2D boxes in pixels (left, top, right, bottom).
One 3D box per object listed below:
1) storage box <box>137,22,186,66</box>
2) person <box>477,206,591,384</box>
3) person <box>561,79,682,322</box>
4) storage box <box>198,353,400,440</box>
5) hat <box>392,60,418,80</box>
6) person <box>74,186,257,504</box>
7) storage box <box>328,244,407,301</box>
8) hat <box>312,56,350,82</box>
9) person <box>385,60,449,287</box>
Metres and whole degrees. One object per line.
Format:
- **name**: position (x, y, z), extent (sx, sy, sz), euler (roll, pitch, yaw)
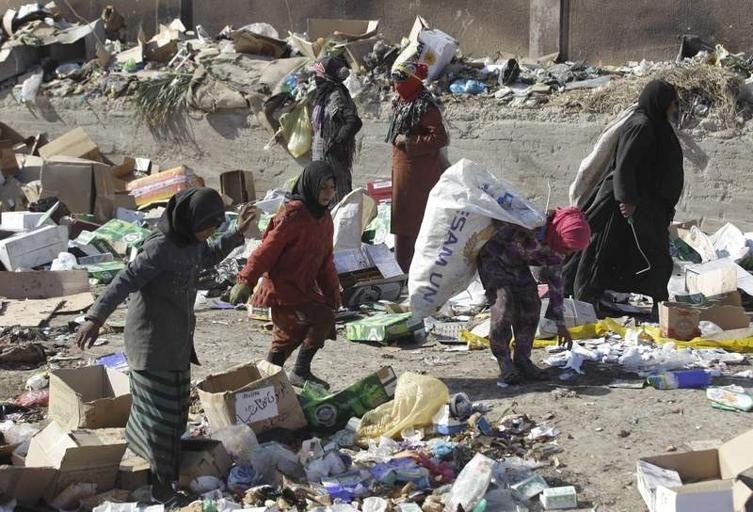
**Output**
- **storage box**: position (-3.393, -3.445, 14.027), extent (0.708, 0.718, 1.001), euler (-6, 12, -11)
- **person**: position (1.272, 0.333, 7.229), extent (0.838, 1.423, 0.401), euler (-4, 12, -3)
- **person**: position (2.397, -0.535, 8.474), extent (1.011, 2.279, 0.483), euler (0, 13, 18)
- **storage box**: position (-0.640, 1.122, 6.634), extent (1.019, 0.386, 0.678), euler (-17, 1, -13)
- **hat**: position (0.291, -1.898, 8.964), extent (0.241, 0.171, 0.221), euler (-3, 12, 2)
- **person**: position (-1.469, 0.634, 6.035), extent (0.941, 2.144, 0.407), euler (-3, 12, 3)
- **storage box**: position (-0.079, 0.190, 8.928), extent (0.703, 0.510, 0.246), euler (-9, -22, -26)
- **hat**: position (-0.483, -2.014, 9.427), extent (0.335, 0.272, 0.305), euler (-4, 12, -4)
- **person**: position (0.425, -0.914, 9.133), extent (0.642, 2.162, 0.355), euler (-2, 12, 6)
